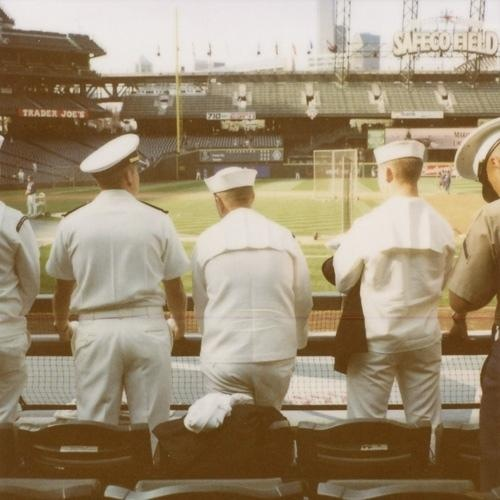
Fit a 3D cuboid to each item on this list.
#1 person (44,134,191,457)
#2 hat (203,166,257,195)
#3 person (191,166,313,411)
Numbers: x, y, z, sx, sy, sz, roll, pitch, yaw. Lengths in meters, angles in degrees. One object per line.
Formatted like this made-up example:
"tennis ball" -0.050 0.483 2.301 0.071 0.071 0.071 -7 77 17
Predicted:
"person" -0.703 0.404 7.287 0.717 2.056 0.536 0 9 7
"hat" -0.125 -0.374 7.060 0.157 0.070 0.189 -13 5 -44
"person" 0.001 0.194 6.991 0.609 1.240 0.421 0 7 2
